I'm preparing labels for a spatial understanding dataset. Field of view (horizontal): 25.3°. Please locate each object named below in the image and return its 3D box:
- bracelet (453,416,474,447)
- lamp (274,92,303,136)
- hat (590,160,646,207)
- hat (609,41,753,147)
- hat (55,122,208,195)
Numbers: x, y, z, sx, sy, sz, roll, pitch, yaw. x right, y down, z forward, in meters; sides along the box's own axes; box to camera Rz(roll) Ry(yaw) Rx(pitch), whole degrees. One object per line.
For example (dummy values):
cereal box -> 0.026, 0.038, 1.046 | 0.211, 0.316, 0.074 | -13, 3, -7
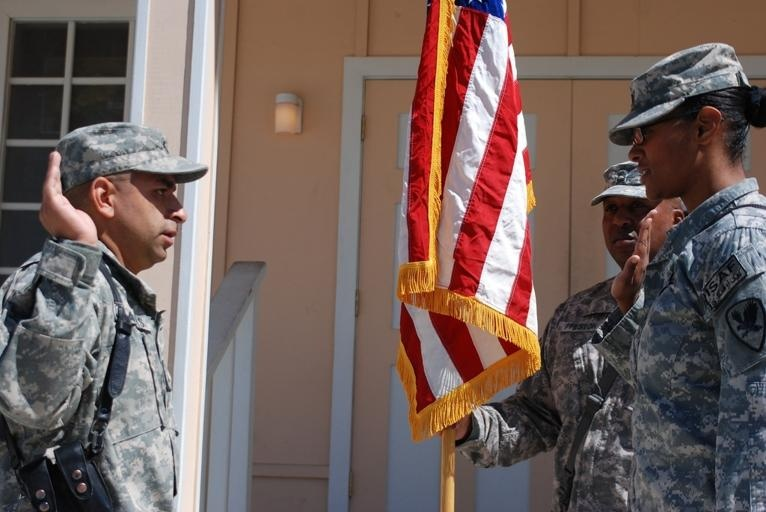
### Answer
bracelet -> 0.404, 0.866, 8.465 | 0.116, 0.109, 0.141 | -3, -9, -3
lamp -> -0.544, -0.828, 10.016 | 0.169, 0.225, 0.121 | 2, -4, -4
hat -> 1.247, -0.392, 8.989 | 0.180, 0.127, 0.235 | -8, -8, 42
hat -> 1.372, -0.686, 7.832 | 0.525, 0.267, 0.386 | -18, -11, 10
hat -> -1.196, -0.467, 7.965 | 0.490, 0.220, 0.377 | -7, 4, -13
